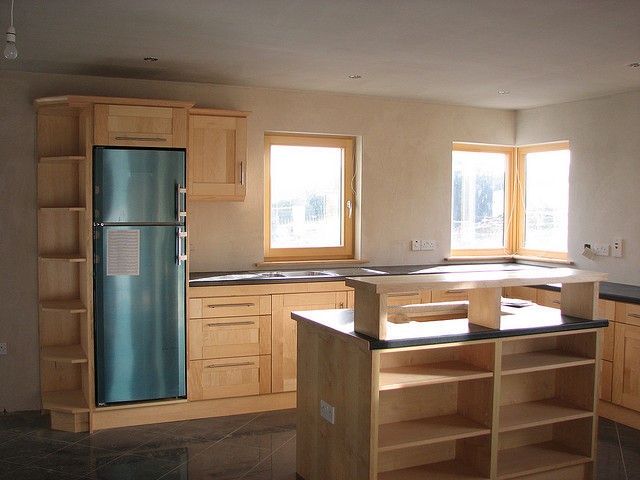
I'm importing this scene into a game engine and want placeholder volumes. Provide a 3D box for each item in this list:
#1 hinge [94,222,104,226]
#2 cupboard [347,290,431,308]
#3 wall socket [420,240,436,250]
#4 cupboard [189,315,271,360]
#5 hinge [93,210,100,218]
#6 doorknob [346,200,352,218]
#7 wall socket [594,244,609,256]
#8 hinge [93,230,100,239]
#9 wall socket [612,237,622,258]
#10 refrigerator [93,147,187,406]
[{"bbox_3d":[-1.800,-0.126,4.351,0.073,0.021,0.007,-1,9,-11],"label":"hinge"},{"bbox_3d":[0.706,0.558,5.174,0.906,0.177,0.155,-2,9,-17],"label":"cupboard"},{"bbox_3d":[1.229,0.056,6.074,0.199,0.115,0.029,-4,10,-26],"label":"wall socket"},{"bbox_3d":[-0.817,0.861,4.733,0.720,0.340,0.381,2,3,-28],"label":"cupboard"},{"bbox_3d":[-1.815,-0.212,4.342,0.040,0.061,0.012,0,9,-1],"label":"hinge"},{"bbox_3d":[0.322,-0.339,5.833,0.066,0.192,0.019,-6,11,-34],"label":"doorknob"},{"bbox_3d":[2.882,0.101,5.460,0.031,0.084,0.128,-6,8,-31],"label":"wall socket"},{"bbox_3d":[-1.823,-0.039,4.352,0.050,0.061,0.011,-2,9,-15],"label":"hinge"},{"bbox_3d":[2.962,0.077,5.322,0.037,0.193,0.123,-4,9,-22],"label":"wall socket"},{"bbox_3d":[-1.507,0.302,4.468,0.787,2.122,0.255,-2,9,-13],"label":"refrigerator"}]
